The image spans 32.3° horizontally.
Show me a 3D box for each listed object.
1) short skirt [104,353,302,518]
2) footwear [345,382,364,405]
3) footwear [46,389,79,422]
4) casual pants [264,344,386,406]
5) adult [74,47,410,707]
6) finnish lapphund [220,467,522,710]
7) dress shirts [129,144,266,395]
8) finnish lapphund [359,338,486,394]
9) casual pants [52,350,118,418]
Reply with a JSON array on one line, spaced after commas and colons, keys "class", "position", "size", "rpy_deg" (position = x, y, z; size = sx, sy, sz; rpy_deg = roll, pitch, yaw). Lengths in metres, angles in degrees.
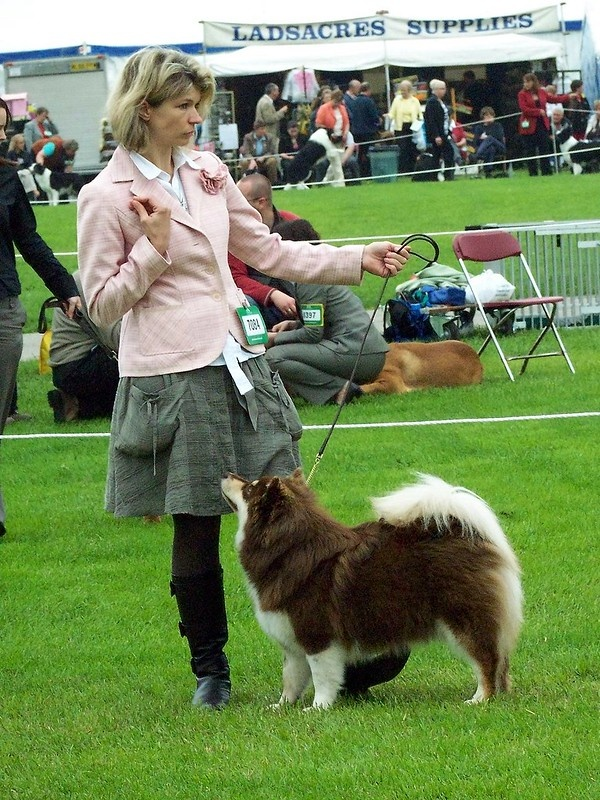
[{"class": "short skirt", "position": [-0.337, 0.149, 3.449], "size": [0.841, 0.516, 0.458], "rpy_deg": [-5, 1, -30]}, {"class": "footwear", "position": [0.398, 0.018, 8.045], "size": [0.051, 0.131, 0.136], "rpy_deg": [34, -3, -37]}, {"class": "footwear", "position": [-1.842, 0.121, 8.070], "size": [0.134, 0.346, 0.262], "rpy_deg": [1, -2, 17]}, {"class": "casual pants", "position": [0.190, -0.160, 7.979], "size": [0.711, 0.386, 0.495], "rpy_deg": [-16, 20, -17]}, {"class": "adult", "position": [-0.184, -0.051, 3.395], "size": [1.019, 1.902, 0.657], "rpy_deg": [-5, 4, -18]}, {"class": "finnish lapphund", "position": [0.206, 0.634, 3.361], "size": [0.855, 0.604, 0.280], "rpy_deg": [0, 2, 13]}, {"class": "dress shirts", "position": [-0.385, -0.285, 3.307], "size": [0.292, 0.818, 0.280], "rpy_deg": [-9, 19, 43]}, {"class": "finnish lapphund", "position": [1.025, -0.178, 8.413], "size": [1.208, 0.558, 0.390], "rpy_deg": [-3, -2, 15]}, {"class": "casual pants", "position": [-1.656, -0.029, 8.029], "size": [0.571, 0.627, 0.237], "rpy_deg": [3, 22, 4]}]
